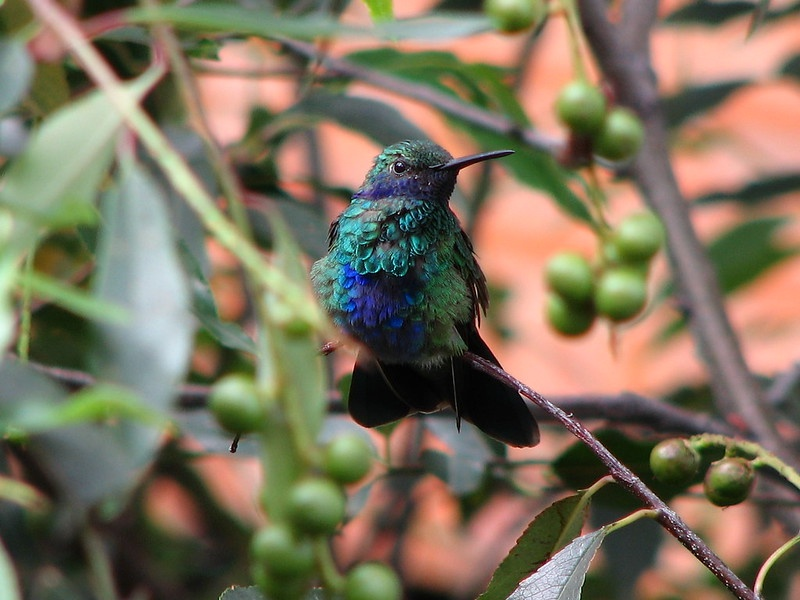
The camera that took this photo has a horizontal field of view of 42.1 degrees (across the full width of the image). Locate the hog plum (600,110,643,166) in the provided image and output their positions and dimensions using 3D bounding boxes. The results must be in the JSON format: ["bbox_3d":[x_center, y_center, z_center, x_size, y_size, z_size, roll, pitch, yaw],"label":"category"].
[{"bbox_3d":[0.390,-0.299,1.928,0.084,0.105,0.087,8,14,7],"label":"hog plum"}]

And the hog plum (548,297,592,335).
[{"bbox_3d":[0.320,0.035,1.992,0.072,0.076,0.088,-4,22,7],"label":"hog plum"}]

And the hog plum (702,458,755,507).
[{"bbox_3d":[0.624,0.342,1.968,0.072,0.084,0.098,4,-14,-8],"label":"hog plum"}]

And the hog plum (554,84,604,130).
[{"bbox_3d":[0.330,-0.349,1.888,0.078,0.098,0.085,3,14,8],"label":"hog plum"}]

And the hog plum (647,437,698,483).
[{"bbox_3d":[0.539,0.315,2.012,0.093,0.114,0.098,7,-17,-2],"label":"hog plum"}]

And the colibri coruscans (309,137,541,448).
[{"bbox_3d":[0.030,-0.016,2.708,0.513,0.912,0.367,-4,-23,-6],"label":"colibri coruscans"}]
